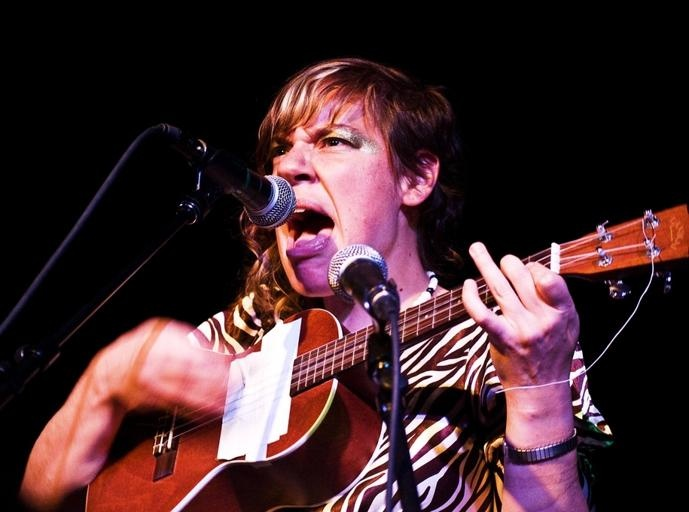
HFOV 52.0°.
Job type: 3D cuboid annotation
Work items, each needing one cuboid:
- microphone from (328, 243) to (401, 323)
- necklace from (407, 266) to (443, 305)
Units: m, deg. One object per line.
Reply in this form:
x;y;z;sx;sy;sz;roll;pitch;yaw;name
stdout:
0.056;0.095;2.264;0.198;0.284;0.379;1;-11;-4;microphone
0.366;0.144;3.143;0.070;0.194;0.053;2;-42;29;necklace
